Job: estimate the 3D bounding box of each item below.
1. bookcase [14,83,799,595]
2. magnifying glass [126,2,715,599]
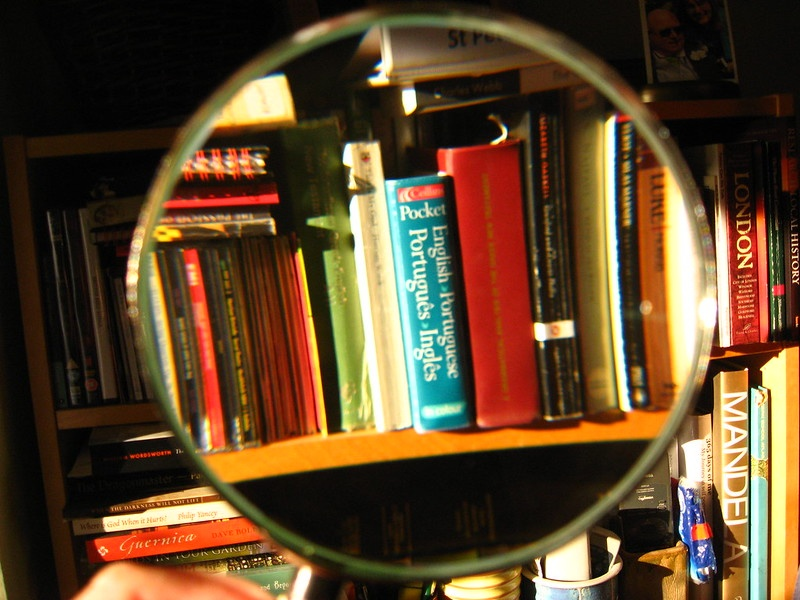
[{"bbox_3d":[-0.029,0.037,1.211,0.854,0.728,0.259,-5,-2,-9],"label":"bookcase"},{"bbox_3d":[-0.001,0.004,1.180,0.424,0.542,0.758,-28,-19,-4],"label":"magnifying glass"}]
